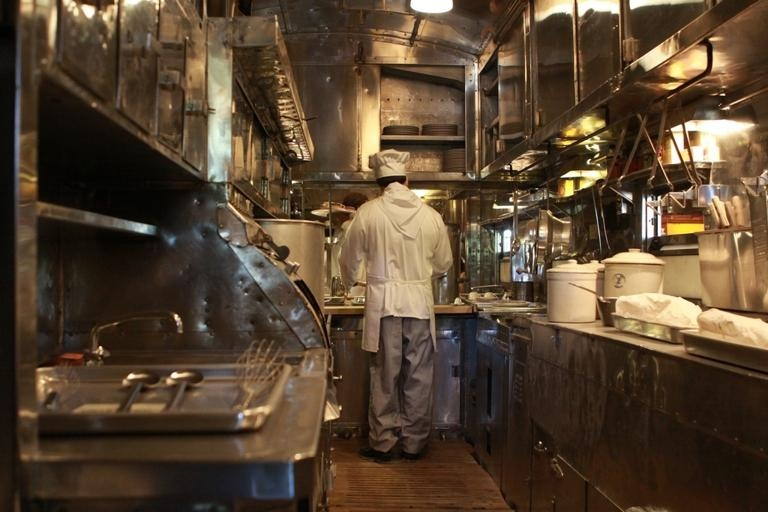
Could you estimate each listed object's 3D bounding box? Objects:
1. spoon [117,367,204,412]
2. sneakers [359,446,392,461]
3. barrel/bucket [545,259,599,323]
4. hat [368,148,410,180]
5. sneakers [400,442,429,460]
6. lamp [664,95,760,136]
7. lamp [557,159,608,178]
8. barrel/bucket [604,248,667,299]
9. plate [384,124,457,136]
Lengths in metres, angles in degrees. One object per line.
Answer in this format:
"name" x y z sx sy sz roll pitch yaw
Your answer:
"spoon" -0.762 0.439 2.235 0.203 0.111 0.251 -3 -2 31
"sneakers" -0.048 1.291 4.409 0.223 0.114 0.082 7 0 26
"barrel/bucket" 0.858 0.159 3.052 0.224 0.220 0.173 -3 -1 14
"hat" 0.044 -0.612 4.690 0.223 0.152 0.241 -1 -11 -2
"sneakers" 0.196 1.286 4.418 0.110 0.108 0.131 3 -6 -42
"lamp" 1.491 -0.639 3.041 0.135 0.177 0.392 -2 -2 -20
"lamp" 1.299 -0.573 4.332 0.128 0.056 0.260 0 -4 3
"barrel/bucket" 1.070 0.068 2.872 0.241 0.172 0.121 -3 -2 21
"plate" 0.318 -1.079 5.783 0.639 0.120 0.180 -2 -2 0
